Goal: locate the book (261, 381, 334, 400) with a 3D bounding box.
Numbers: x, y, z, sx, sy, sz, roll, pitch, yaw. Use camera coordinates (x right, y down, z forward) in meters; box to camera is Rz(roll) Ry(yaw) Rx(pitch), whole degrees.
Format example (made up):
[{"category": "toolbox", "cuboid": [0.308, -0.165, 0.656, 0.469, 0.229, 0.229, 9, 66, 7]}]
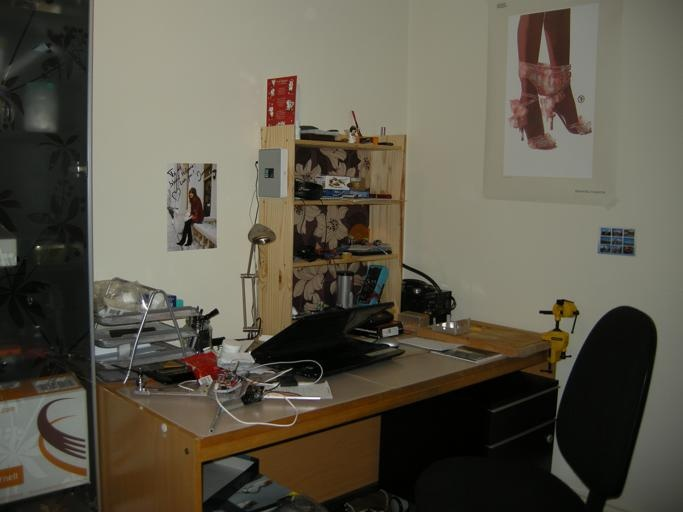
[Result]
[{"category": "book", "cuboid": [-0.181, 0.553, 2.228, 0.276, 0.026, 0.141, 1, 11, -13]}]
